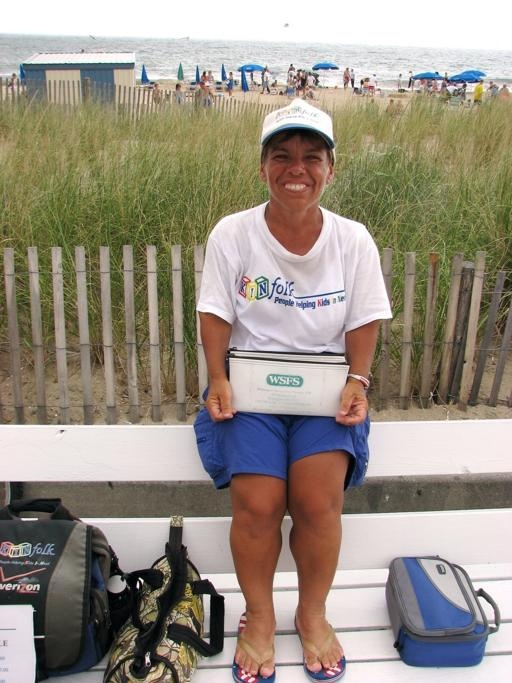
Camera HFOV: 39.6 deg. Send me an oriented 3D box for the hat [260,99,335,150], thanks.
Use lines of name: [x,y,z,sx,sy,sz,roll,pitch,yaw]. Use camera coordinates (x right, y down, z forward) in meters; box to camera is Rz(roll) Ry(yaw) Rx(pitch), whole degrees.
hat: [0.119,-0.618,2.017,0.207,0.128,0.236,4,20,3]

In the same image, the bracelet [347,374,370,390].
bracelet: [0.289,0.107,2.010,0.040,0.021,0.052,17,6,-36]

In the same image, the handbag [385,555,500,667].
handbag: [0.491,0.718,1.872,0.204,0.084,0.244,-2,26,1]
